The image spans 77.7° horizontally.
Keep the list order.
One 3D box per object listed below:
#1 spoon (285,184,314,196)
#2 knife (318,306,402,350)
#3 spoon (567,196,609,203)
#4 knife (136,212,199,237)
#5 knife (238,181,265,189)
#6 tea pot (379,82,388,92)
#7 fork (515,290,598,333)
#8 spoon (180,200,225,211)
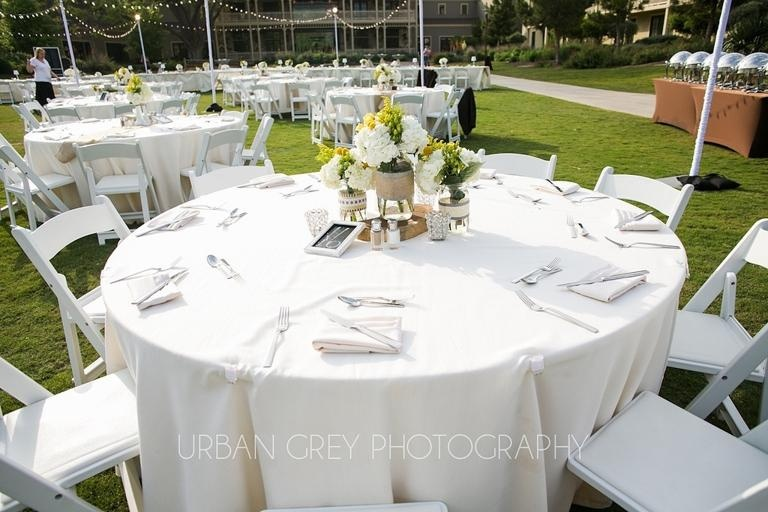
[{"bbox_3d":[-0.537,-0.421,3.090,0.227,0.040,0.069,-25,47,-38],"label":"spoon"},{"bbox_3d":[-0.096,0.283,1.823,0.371,0.048,0.067,16,31,31],"label":"knife"},{"bbox_3d":[1.228,-0.337,2.851,0.226,0.013,0.077,-7,27,-11],"label":"spoon"},{"bbox_3d":[-1.186,-0.171,2.634,0.131,0.047,0.239,10,32,42],"label":"knife"},{"bbox_3d":[-0.897,-0.474,3.204,0.278,0.024,0.056,-11,14,-43],"label":"knife"},{"bbox_3d":[-0.002,-2.881,8.115,0.157,0.131,0.158,-2,12,0],"label":"tea pot"},{"bbox_3d":[0.662,0.225,1.901,0.336,0.042,0.088,22,35,40],"label":"fork"},{"bbox_3d":[-1.087,-0.300,2.867,0.321,0.014,0.100,9,43,23],"label":"spoon"}]
